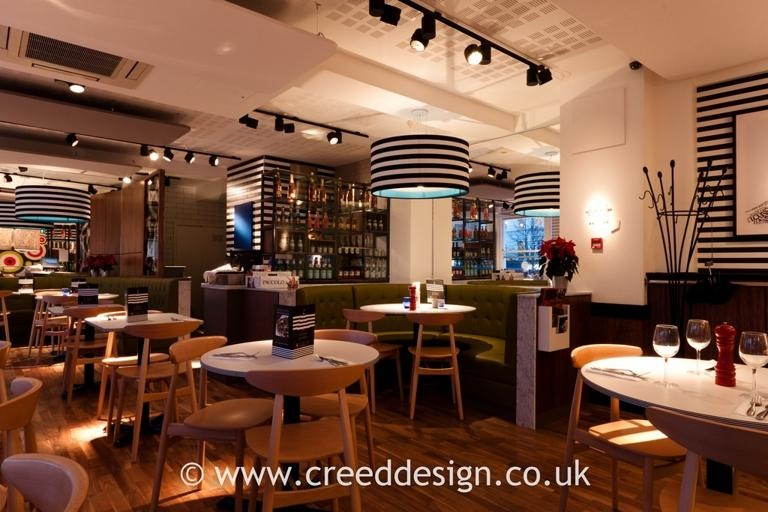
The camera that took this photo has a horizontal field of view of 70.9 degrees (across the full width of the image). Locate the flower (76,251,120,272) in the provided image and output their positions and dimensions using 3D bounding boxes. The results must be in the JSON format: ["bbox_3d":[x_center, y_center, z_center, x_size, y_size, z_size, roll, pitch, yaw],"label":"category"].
[{"bbox_3d":[-5.422,0.144,10.170,0.466,0.323,0.442,1,1,40],"label":"flower"}]

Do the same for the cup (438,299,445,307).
[{"bbox_3d":[0.723,0.603,6.800,0.085,0.093,0.084,1,-5,0],"label":"cup"}]

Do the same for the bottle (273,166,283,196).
[{"bbox_3d":[-1.690,-1.130,8.428,0.084,0.428,0.213,0,1,0],"label":"bottle"}]

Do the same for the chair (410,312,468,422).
[{"bbox_3d":[0.634,1.222,6.655,0.654,1.191,1.320,0,1,3],"label":"chair"}]

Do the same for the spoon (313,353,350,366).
[{"bbox_3d":[-0.428,0.817,4.202,0.090,0.048,0.332,-5,8,-41],"label":"spoon"}]

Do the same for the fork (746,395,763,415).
[{"bbox_3d":[2.440,0.963,3.529,0.069,0.042,0.403,6,10,33],"label":"fork"}]

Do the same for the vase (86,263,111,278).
[{"bbox_3d":[-5.452,0.303,10.233,0.486,0.330,0.493,-3,-3,33],"label":"vase"}]

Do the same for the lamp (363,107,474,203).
[{"bbox_3d":[0.456,-1.432,7.302,1.398,0.602,1.401,0,1,1],"label":"lamp"}]

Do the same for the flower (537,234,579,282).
[{"bbox_3d":[2.091,0.046,6.586,0.506,0.524,0.522,1,-5,-2],"label":"flower"}]

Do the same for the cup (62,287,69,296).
[{"bbox_3d":[-4.883,0.546,8.190,0.101,0.144,0.100,2,3,0],"label":"cup"}]

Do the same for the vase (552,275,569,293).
[{"bbox_3d":[2.064,0.331,6.308,0.217,0.169,0.196,-3,-9,31],"label":"vase"}]

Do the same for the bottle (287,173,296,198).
[{"bbox_3d":[-1.497,-1.100,8.617,0.100,0.405,0.170,0,1,14],"label":"bottle"}]

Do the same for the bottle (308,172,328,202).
[{"bbox_3d":[-1.098,-1.111,8.919,0.282,0.447,0.504,0,1,9],"label":"bottle"}]

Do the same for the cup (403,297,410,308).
[{"bbox_3d":[0.271,0.582,6.693,0.099,0.105,0.099,0,-1,0],"label":"cup"}]

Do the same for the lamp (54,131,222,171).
[{"bbox_3d":[-4.160,-1.918,9.909,1.304,0.346,3.214,1,1,31],"label":"lamp"}]

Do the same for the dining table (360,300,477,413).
[{"bbox_3d":[0.452,1.136,6.544,1.228,1.020,1.366,2,-5,-11],"label":"dining table"}]

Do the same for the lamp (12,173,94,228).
[{"bbox_3d":[-6.928,-1.071,11.206,1.271,0.652,1.257,2,-6,-29],"label":"lamp"}]

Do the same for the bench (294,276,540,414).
[{"bbox_3d":[0.817,1.081,7.042,2.302,1.155,1.637,-2,-5,36],"label":"bench"}]
